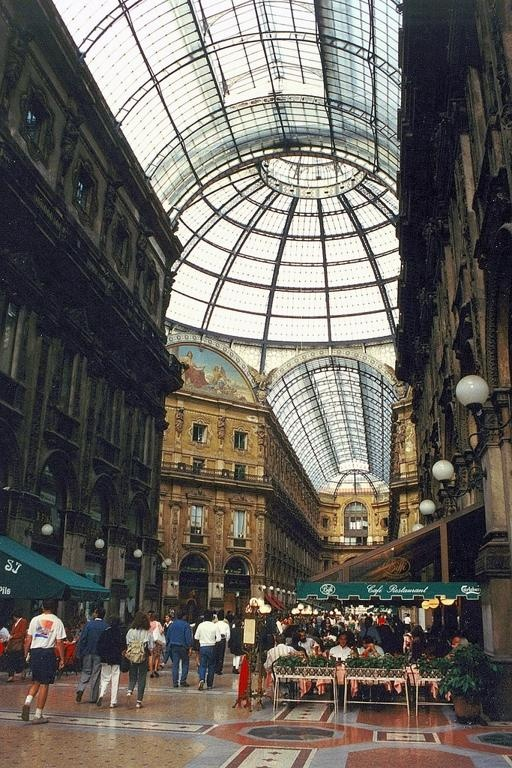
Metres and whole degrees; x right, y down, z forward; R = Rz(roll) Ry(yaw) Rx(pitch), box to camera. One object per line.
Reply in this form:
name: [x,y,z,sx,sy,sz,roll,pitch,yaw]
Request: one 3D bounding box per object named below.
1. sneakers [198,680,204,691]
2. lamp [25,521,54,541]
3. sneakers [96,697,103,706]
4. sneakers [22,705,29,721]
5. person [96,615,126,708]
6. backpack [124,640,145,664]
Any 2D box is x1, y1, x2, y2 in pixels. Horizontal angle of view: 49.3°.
sneakers: [-1.128,6.122,11.296,0.083,0.095,0.239,1,-66,-3]
lamp: [-5.619,3.817,14.439,0.684,0.345,0.376,-1,-7,2]
sneakers: [-2.348,4.759,8.357,0.082,0.088,0.185,3,-33,-4]
sneakers: [-2.561,3.649,6.185,0.080,0.177,0.206,8,-22,-19]
person: [-2.203,4.180,8.387,0.379,1.229,0.915,6,-20,-14]
backpack: [-1.821,3.973,8.299,0.322,0.385,0.196,2,-13,-3]
